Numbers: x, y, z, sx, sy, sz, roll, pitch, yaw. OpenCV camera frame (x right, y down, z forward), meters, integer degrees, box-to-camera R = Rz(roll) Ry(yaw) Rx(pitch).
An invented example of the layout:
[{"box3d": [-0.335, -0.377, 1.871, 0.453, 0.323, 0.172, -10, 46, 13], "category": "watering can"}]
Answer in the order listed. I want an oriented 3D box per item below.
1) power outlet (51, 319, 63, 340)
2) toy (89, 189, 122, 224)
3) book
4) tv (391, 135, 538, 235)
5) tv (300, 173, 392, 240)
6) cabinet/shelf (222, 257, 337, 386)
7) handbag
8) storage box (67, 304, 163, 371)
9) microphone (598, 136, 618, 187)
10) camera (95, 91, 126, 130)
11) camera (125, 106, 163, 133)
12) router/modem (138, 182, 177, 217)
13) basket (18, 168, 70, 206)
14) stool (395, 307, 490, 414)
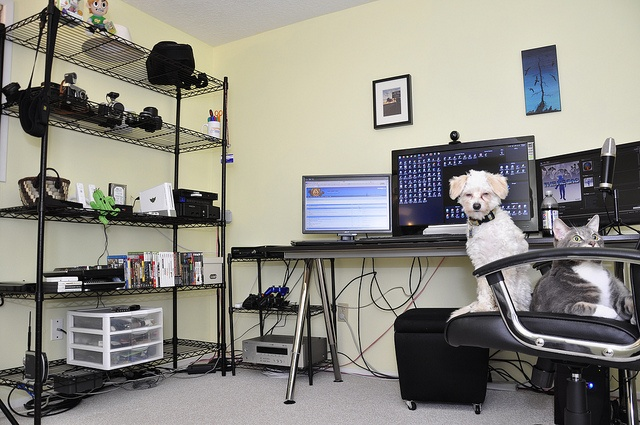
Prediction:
[{"box3d": [-1.970, 0.869, 3.617, 0.021, 0.155, 0.085, 1, 2, 40], "category": "power outlet"}, {"box3d": [-1.577, -0.040, 3.517, 0.204, 0.248, 0.168, -2, 2, -40], "category": "toy"}, {"box3d": [-1.286, 0.459, 3.833, 0.198, 0.304, 0.723, 1, 2, 42], "category": "book"}, {"box3d": [1.054, -0.175, 3.444, 0.749, 0.512, 0.212, -3, -10, 25], "category": "tv"}, {"box3d": [0.216, -0.037, 3.876, 0.740, 0.496, 0.159, -1, 3, 18], "category": "tv"}, {"box3d": [-0.309, 0.903, 3.976, 0.637, 1.466, 0.925, -2, -5, 28], "category": "cabinet/shelf"}, {"box3d": [-1.832, -0.894, 3.122, 0.303, 0.824, 0.128, 0, 2, 23], "category": "handbag"}, {"box3d": [-1.544, 0.930, 3.667, 0.575, 0.371, 0.558, -4, -7, 25], "category": "storage box"}, {"box3d": [1.766, -0.292, 2.975, 0.078, 0.311, 0.186, 0, 2, 30], "category": "microphone"}, {"box3d": [-1.594, -0.766, 3.668, 0.183, 0.231, 0.362, -2, 2, -24], "category": "camera"}, {"box3d": [-1.370, -0.710, 3.776, 0.164, 0.166, 0.237, 3, -1, 32], "category": "camera"}, {"box3d": [-1.330, -0.072, 3.935, 0.446, 0.261, 0.101, -7, -5, 42], "category": "router/modem"}, {"box3d": [-1.898, -0.152, 3.348, 0.310, 0.199, 0.297, 3, -7, -17], "category": "basket"}, {"box3d": [0.845, 0.969, 3.481, 0.659, 0.661, 0.665, -1, -3, 15], "category": "stool"}]
